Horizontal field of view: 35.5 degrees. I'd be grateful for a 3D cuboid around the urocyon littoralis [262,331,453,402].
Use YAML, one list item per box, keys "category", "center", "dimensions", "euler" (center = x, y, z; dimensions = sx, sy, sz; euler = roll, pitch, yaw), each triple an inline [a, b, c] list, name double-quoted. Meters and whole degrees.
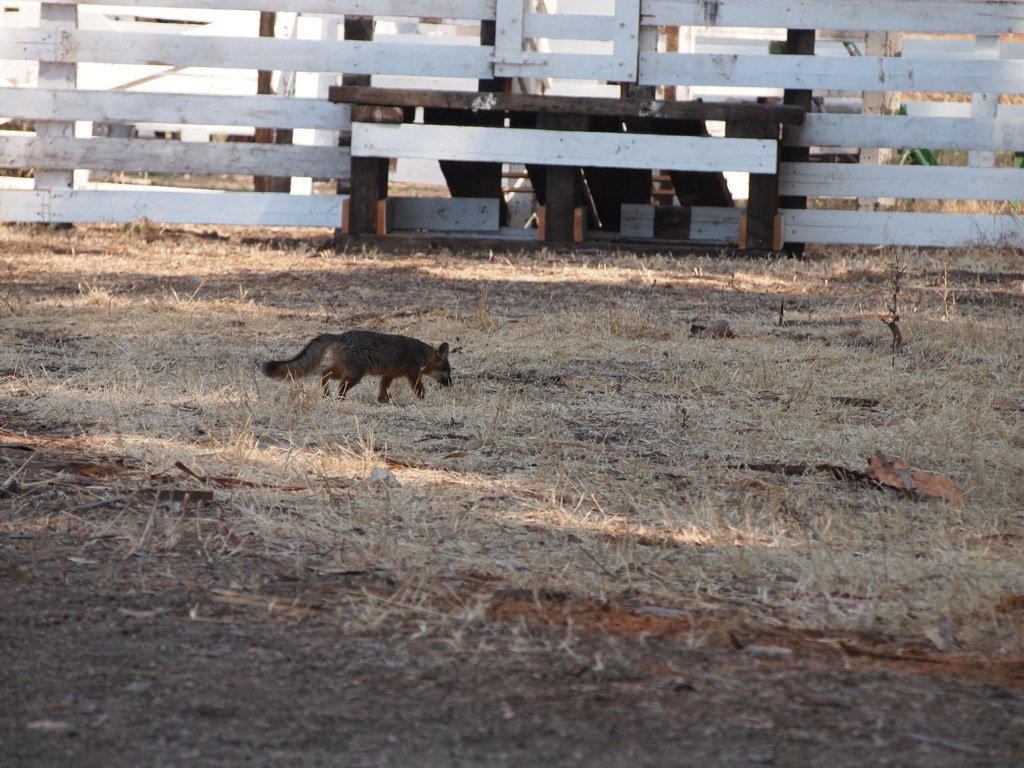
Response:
- category: "urocyon littoralis"
  center: [-1.029, -0.110, 11.006]
  dimensions: [1.543, 0.456, 0.316]
  euler: [3, 1, -41]
